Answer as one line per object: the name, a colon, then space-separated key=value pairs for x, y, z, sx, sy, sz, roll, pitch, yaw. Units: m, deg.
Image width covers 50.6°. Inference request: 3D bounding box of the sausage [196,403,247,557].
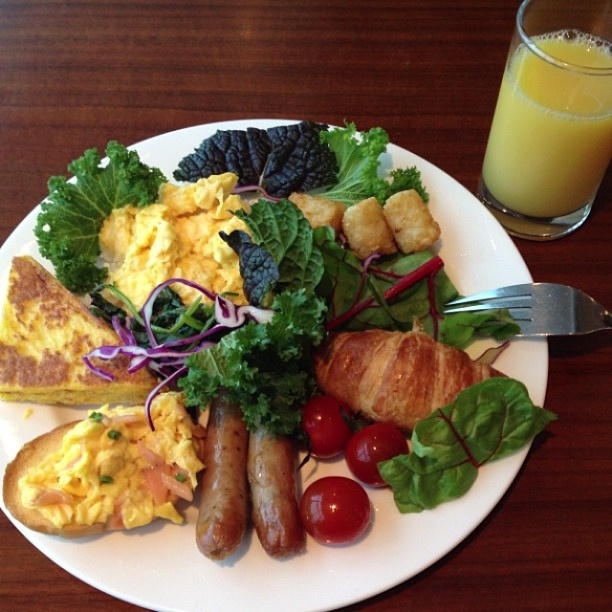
sausage: x=-0.316 y=0.578 z=2.199 sx=0.175 sy=0.157 sz=0.512 roll=3 pitch=47 yaw=-11
